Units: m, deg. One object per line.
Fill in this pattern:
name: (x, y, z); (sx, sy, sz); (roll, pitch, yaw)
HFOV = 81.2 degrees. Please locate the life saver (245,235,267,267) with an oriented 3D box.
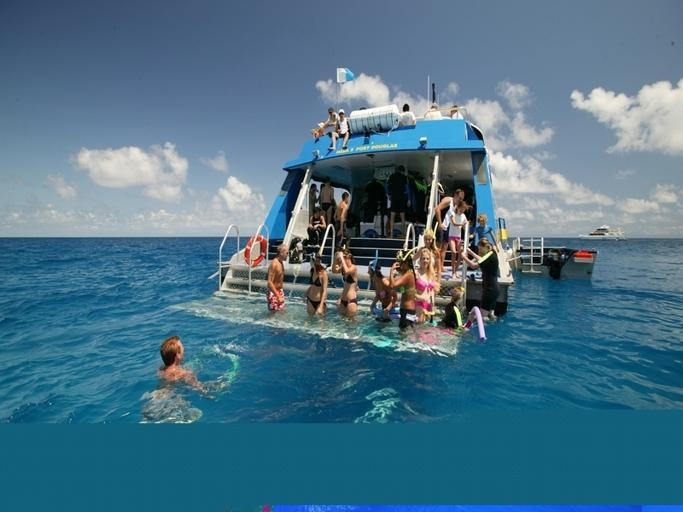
life saver: (-2.360, -0.167, 11.198); (0.189, 0.804, 0.755); (7, 19, 25)

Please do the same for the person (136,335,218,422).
person: (-2.400, 1.830, 5.735); (0.967, 1.267, 1.165); (3, -20, -22)
